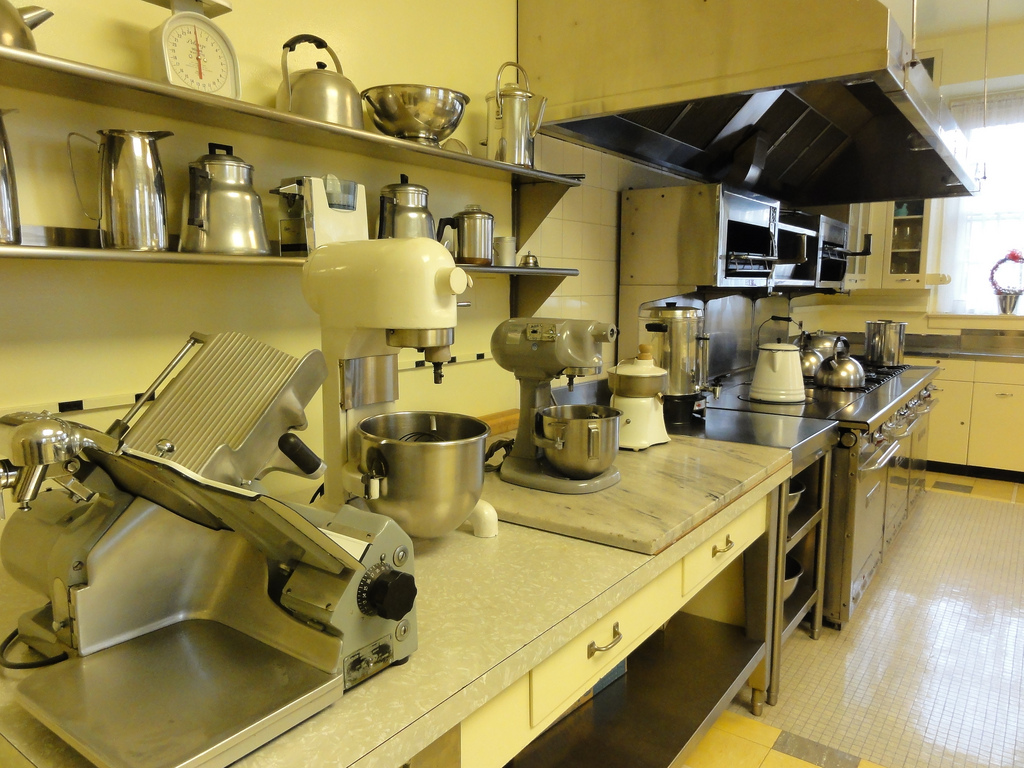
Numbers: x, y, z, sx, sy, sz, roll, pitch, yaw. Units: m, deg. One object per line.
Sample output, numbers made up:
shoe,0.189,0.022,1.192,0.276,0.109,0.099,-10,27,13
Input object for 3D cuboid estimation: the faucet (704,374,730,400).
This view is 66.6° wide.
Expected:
faucet,0.923,0.015,3.478,0.140,0.096,0.195,1,-3,26

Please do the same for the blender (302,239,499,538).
blender,-0.244,0.026,1.671,0.392,0.659,0.301,1,10,10

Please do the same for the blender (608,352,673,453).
blender,0.401,0.025,2.462,0.214,0.310,0.189,8,12,25

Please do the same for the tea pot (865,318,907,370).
tea pot,2.097,-0.212,4.340,0.241,0.250,0.237,-1,5,0

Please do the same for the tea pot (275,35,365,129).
tea pot,-0.508,-0.770,2.000,0.197,0.232,0.208,3,16,-1

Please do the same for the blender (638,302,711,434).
blender,0.634,-0.083,2.898,0.228,0.418,0.267,-1,7,27

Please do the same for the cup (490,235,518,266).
cup,-0.013,-0.437,2.516,0.092,0.089,0.073,-3,6,-35

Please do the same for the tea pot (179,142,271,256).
tea pot,-0.678,-0.427,1.824,0.198,0.257,0.217,1,10,0

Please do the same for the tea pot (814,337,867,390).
tea pot,1.499,-0.098,3.589,0.226,0.247,0.239,-1,4,0

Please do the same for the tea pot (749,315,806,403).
tea pot,1.119,-0.048,3.247,0.232,0.234,0.229,-1,10,0

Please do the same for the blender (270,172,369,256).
blender,-0.492,-0.415,2.004,0.134,0.242,0.252,-3,1,33

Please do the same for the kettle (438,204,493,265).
kettle,-0.146,-0.445,2.349,0.178,0.177,0.116,-2,8,-16

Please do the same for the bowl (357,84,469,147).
bowl,-0.269,-0.737,2.203,0.294,0.141,0.310,3,5,0

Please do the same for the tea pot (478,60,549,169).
tea pot,0.007,-0.841,2.438,0.201,0.320,0.165,12,17,34

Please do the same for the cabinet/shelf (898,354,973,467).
cabinet/shelf,3.001,0.182,5.464,0.375,0.705,0.407,9,-4,-27

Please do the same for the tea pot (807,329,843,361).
tea pot,1.600,-0.213,3.999,0.239,0.129,0.196,7,9,39
